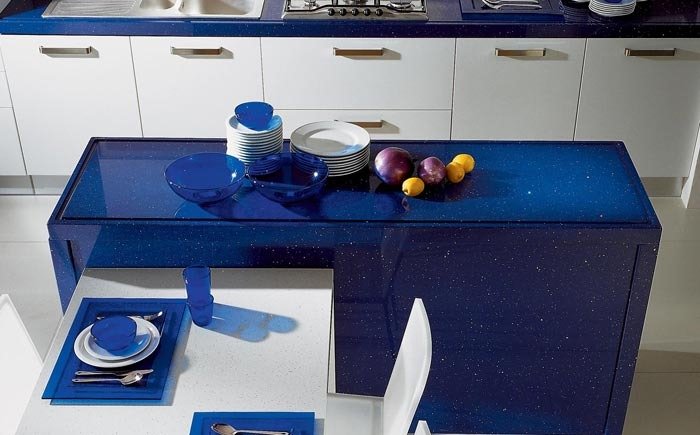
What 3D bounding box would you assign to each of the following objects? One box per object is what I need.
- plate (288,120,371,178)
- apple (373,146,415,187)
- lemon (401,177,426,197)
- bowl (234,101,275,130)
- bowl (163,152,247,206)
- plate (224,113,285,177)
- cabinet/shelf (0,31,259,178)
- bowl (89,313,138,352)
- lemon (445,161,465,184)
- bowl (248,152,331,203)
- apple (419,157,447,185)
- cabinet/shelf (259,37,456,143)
[{"bbox_3d":[-0.078,-0.320,2.552,0.283,0.114,0.281,-18,43,-24],"label":"plate"},{"bbox_3d":[0.190,-0.221,2.529,0.188,0.195,0.204,-4,28,5],"label":"apple"},{"bbox_3d":[0.262,-0.127,2.414,0.088,0.069,0.069,-32,6,-40],"label":"lemon"},{"bbox_3d":[-0.415,-0.421,2.539,0.194,0.196,0.077,-3,75,-8],"label":"bowl"},{"bbox_3d":[-0.610,-0.167,2.464,0.328,0.139,0.271,-4,32,-10],"label":"bowl"},{"bbox_3d":[-0.413,-0.327,2.498,0.236,0.160,0.236,-1,29,-4],"label":"plate"},{"bbox_3d":[-1.509,-0.515,4.380,1.830,1.192,0.653,0,46,0],"label":"cabinet/shelf"},{"bbox_3d":[-0.915,0.454,2.199,0.193,0.198,0.098,-12,72,18],"label":"bowl"},{"bbox_3d":[0.444,-0.189,2.519,0.079,0.096,0.081,-12,-6,3],"label":"lemon"},{"bbox_3d":[-0.261,-0.176,2.468,0.330,0.148,0.273,-8,33,-17],"label":"bowl"},{"bbox_3d":[0.343,-0.193,2.502,0.119,0.114,0.119,4,46,-4],"label":"apple"},{"bbox_3d":[0.084,-0.878,3.780,1.025,0.630,0.569,-1,54,-3],"label":"cabinet/shelf"}]
